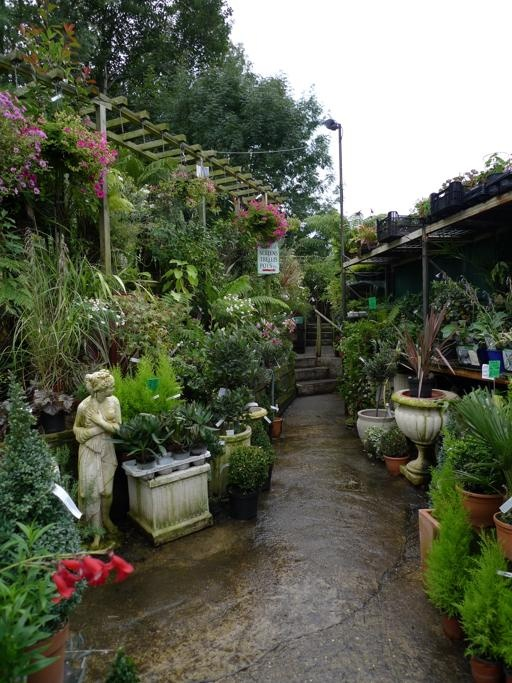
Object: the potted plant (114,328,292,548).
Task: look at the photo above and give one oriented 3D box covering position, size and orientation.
[{"bbox_3d":[-0.514,0.520,4.270,1.587,1.680,1.233,-4,8,-40],"label":"potted plant"}]
